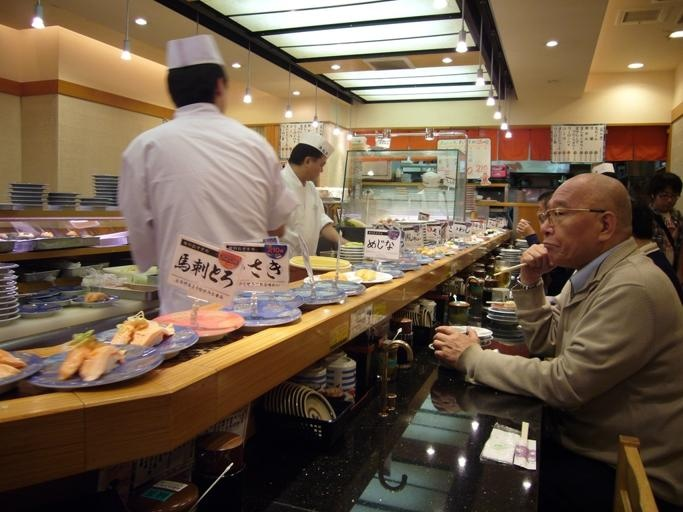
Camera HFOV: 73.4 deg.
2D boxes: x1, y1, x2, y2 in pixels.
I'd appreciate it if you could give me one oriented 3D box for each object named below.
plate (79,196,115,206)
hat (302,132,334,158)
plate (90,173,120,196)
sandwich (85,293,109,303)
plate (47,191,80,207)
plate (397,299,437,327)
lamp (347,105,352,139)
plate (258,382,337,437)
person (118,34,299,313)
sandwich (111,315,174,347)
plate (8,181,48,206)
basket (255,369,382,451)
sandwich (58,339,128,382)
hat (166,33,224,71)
[{"bbox_3d":[-2.249,-0.512,4.223,0.212,0.063,0.199,0,3,-16],"label":"plate"},{"bbox_3d":[-0.167,-0.941,3.805,0.269,0.109,0.304,7,-3,-43],"label":"hat"},{"bbox_3d":[-2.243,-0.681,4.359,0.207,0.178,0.164,-4,12,-18],"label":"plate"},{"bbox_3d":[-1.377,0.228,2.557,0.074,0.019,0.072,1,6,20],"label":"sandwich"},{"bbox_3d":[-2.238,-0.450,3.662,0.209,0.104,0.573,-7,13,-31],"label":"plate"},{"bbox_3d":[0.424,0.304,2.518,0.149,0.075,0.211,2,2,42],"label":"plate"},{"bbox_3d":[0.208,-3.176,10.597,0.097,0.553,0.212,2,12,10],"label":"lamp"},{"bbox_3d":[-0.140,0.481,1.498,0.174,0.064,0.190,19,22,31],"label":"plate"},{"bbox_3d":[-0.571,-0.134,2.139,0.767,1.569,0.620,0,12,-7],"label":"person"},{"bbox_3d":[-0.506,0.187,1.144,0.092,0.026,0.090,14,27,20],"label":"sandwich"},{"bbox_3d":[-2.556,-0.518,3.778,0.315,0.167,0.228,6,13,29],"label":"plate"},{"bbox_3d":[-0.089,0.500,1.547,0.214,0.090,0.252,6,7,29],"label":"basket"},{"bbox_3d":[-0.542,0.220,0.977,0.094,0.029,0.077,12,33,23],"label":"sandwich"},{"bbox_3d":[-0.642,-0.860,1.909,0.199,0.111,0.224,-13,30,3],"label":"hat"}]
